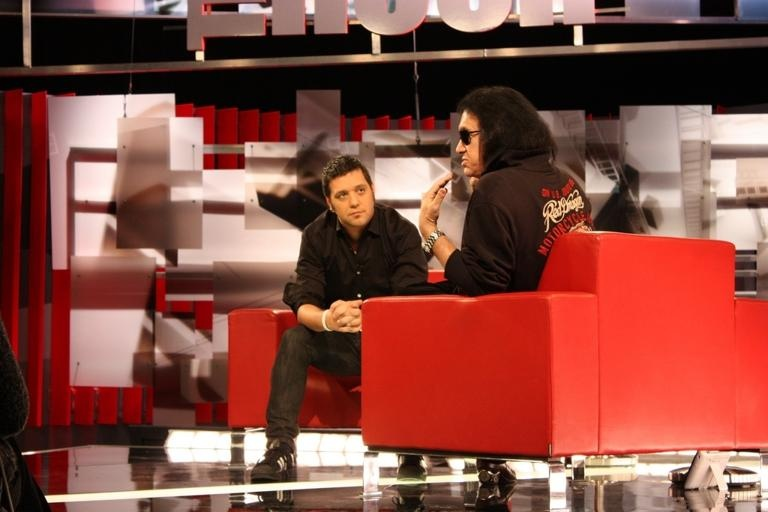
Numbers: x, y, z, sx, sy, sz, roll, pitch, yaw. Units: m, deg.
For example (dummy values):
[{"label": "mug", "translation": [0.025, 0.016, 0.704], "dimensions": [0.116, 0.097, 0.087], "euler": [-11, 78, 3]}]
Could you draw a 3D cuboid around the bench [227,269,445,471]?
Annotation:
[{"label": "bench", "translation": [-0.246, 0.666, 5.631], "dimensions": [1.001, 1.054, 0.797], "euler": [-3, -11, 27]}]

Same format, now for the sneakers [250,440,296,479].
[{"label": "sneakers", "translation": [-0.568, 1.042, 5.114], "dimensions": [0.226, 0.199, 0.110], "euler": [-1, 3, -11]}]

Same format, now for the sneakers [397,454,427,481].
[{"label": "sneakers", "translation": [0.139, 1.088, 5.169], "dimensions": [0.090, 0.113, 0.254], "euler": [1, 2, 5]}]

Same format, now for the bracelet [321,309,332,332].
[{"label": "bracelet", "translation": [-0.303, 0.342, 5.268], "dimensions": [0.055, 0.124, 0.104], "euler": [-1, 3, -4]}]
